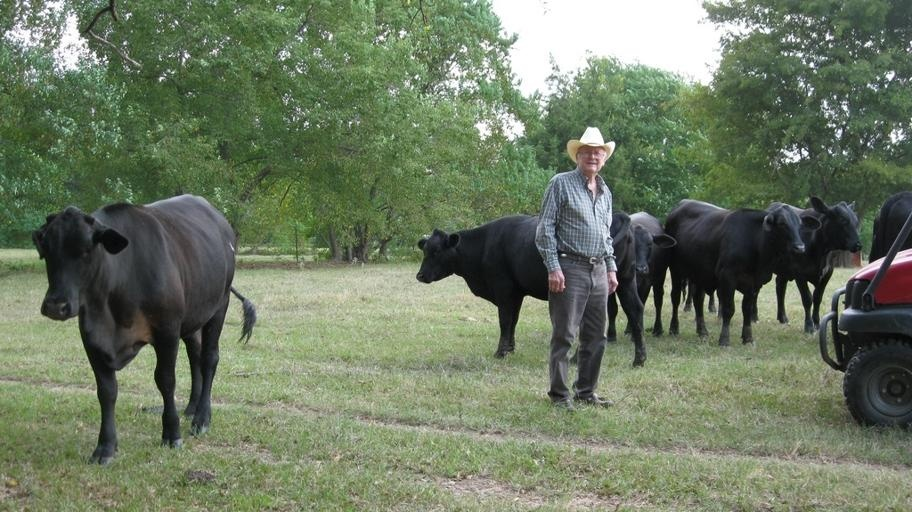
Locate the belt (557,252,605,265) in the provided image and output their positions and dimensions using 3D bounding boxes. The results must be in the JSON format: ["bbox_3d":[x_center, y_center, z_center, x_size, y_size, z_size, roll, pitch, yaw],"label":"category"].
[{"bbox_3d":[3.332,0.081,24.913,1.158,0.306,0.195,2,2,3],"label":"belt"}]

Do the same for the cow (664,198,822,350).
[{"bbox_3d":[8.776,0.516,30.173,1.509,4.386,4.423,0,3,-44],"label":"cow"}]
